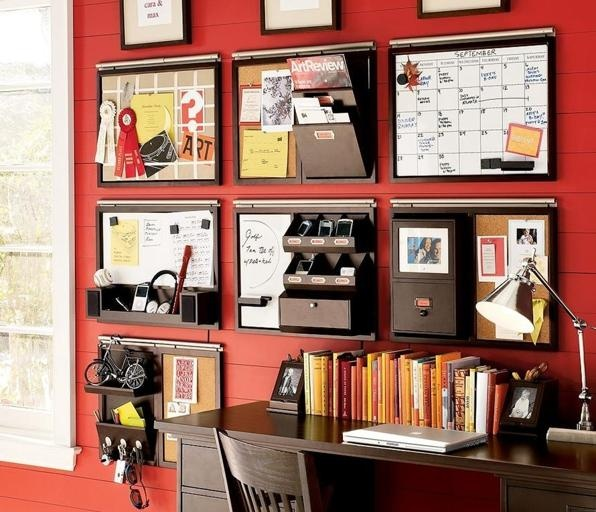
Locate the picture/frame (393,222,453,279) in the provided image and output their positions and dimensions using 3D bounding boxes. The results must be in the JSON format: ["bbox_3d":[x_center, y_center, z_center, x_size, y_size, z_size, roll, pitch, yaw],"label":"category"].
[{"bbox_3d":[0.482,-0.027,2.528,0.188,0.204,0.015,1,-1,28],"label":"picture/frame"}]

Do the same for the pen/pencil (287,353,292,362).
[{"bbox_3d":[-0.039,0.418,2.780,0.023,0.029,0.027,0,-4,-6],"label":"pen/pencil"}]

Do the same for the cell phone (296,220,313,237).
[{"bbox_3d":[0.023,-0.116,2.757,0.036,0.069,0.037,14,-29,21],"label":"cell phone"}]

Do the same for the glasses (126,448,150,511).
[{"bbox_3d":[-0.748,1.026,3.094,0.113,0.307,0.089,1,2,-2],"label":"glasses"}]

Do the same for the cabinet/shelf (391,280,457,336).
[{"bbox_3d":[0.494,0.179,2.602,0.250,0.237,0.149,1,13,19],"label":"cabinet/shelf"}]

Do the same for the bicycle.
[{"bbox_3d":[-0.860,0.476,3.128,0.352,0.276,0.171,3,1,23],"label":"bicycle"}]

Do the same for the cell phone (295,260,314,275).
[{"bbox_3d":[0.023,0.043,2.721,0.047,0.072,0.005,11,-38,10],"label":"cell phone"}]

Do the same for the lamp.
[{"bbox_3d":[0.835,0.301,2.316,0.426,0.595,0.423,1,2,16],"label":"lamp"}]

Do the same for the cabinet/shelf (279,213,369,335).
[{"bbox_3d":[0.094,0.076,2.676,0.336,0.506,0.176,1,0,25],"label":"cabinet/shelf"}]

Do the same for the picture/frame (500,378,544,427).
[{"bbox_3d":[0.782,0.543,2.300,0.138,0.151,0.184,7,44,28],"label":"picture/frame"}]

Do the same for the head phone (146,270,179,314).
[{"bbox_3d":[-0.620,0.162,3.047,0.157,0.235,0.073,1,-7,29],"label":"head phone"}]
